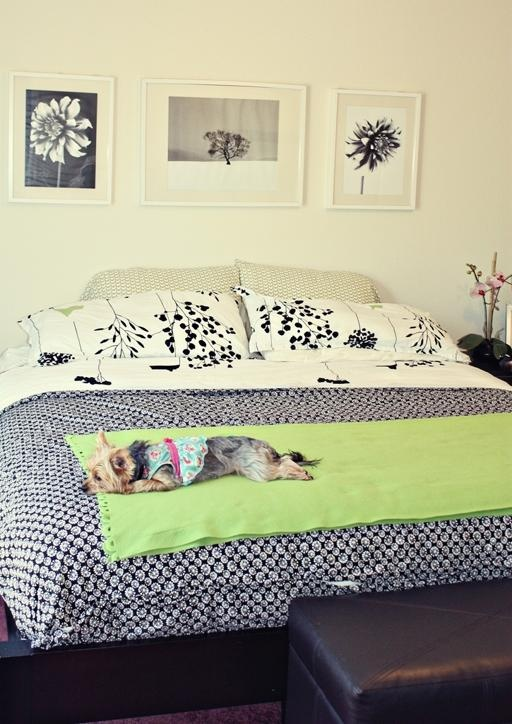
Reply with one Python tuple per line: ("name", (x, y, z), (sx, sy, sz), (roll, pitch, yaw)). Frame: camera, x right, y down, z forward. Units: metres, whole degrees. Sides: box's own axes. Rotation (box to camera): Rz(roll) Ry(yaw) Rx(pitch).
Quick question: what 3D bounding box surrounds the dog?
("dog", (-0.103, 0.164, 1.215), (0.498, 0.112, 0.158), (1, -1, -20))
